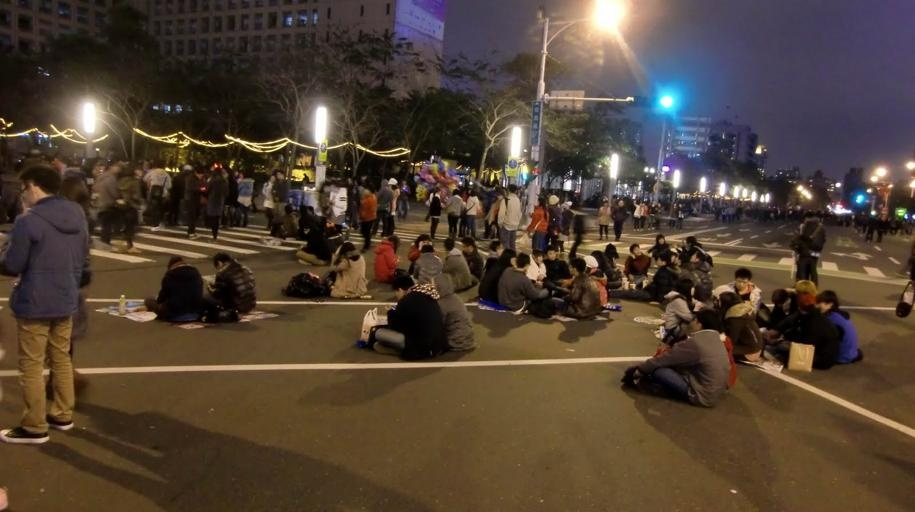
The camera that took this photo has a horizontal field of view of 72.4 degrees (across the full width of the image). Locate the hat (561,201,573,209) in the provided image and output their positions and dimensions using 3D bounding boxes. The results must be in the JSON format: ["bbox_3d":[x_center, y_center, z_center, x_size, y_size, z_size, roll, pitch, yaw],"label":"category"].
[{"bbox_3d":[4.676,-2.169,26.723,0.464,0.317,0.655,8,3,31],"label":"hat"}]

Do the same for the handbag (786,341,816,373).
[{"bbox_3d":[7.363,2.176,13.363,0.576,0.703,0.399,2,-30,18],"label":"handbag"}]

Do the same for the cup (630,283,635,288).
[{"bbox_3d":[5.296,0.911,18.946,0.124,0.110,0.064,-5,-22,0],"label":"cup"}]

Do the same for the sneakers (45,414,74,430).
[{"bbox_3d":[-6.299,2.678,10.047,0.448,0.191,0.177,16,7,-11],"label":"sneakers"}]

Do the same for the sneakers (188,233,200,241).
[{"bbox_3d":[-9.514,-0.702,22.765,0.176,0.200,0.523,7,6,22],"label":"sneakers"}]

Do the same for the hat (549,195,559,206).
[{"bbox_3d":[3.634,-2.172,23.670,0.399,0.094,0.397,-3,-41,39],"label":"hat"}]
